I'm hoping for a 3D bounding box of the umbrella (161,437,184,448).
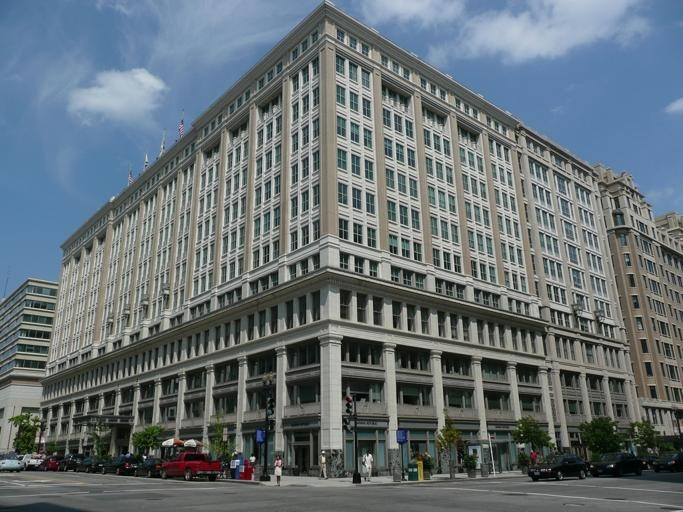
[{"bbox_3d":[-19.667,21.361,61.210,2.274,1.084,3.274,12,-32,-28],"label":"umbrella"}]

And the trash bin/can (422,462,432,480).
[{"bbox_3d":[7.449,18.910,46.782,0.974,1.136,0.847,0,-18,-4],"label":"trash bin/can"}]

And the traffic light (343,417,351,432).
[{"bbox_3d":[0.396,13.674,43.270,0.559,1.025,1.589,0,-25,-2],"label":"traffic light"}]
